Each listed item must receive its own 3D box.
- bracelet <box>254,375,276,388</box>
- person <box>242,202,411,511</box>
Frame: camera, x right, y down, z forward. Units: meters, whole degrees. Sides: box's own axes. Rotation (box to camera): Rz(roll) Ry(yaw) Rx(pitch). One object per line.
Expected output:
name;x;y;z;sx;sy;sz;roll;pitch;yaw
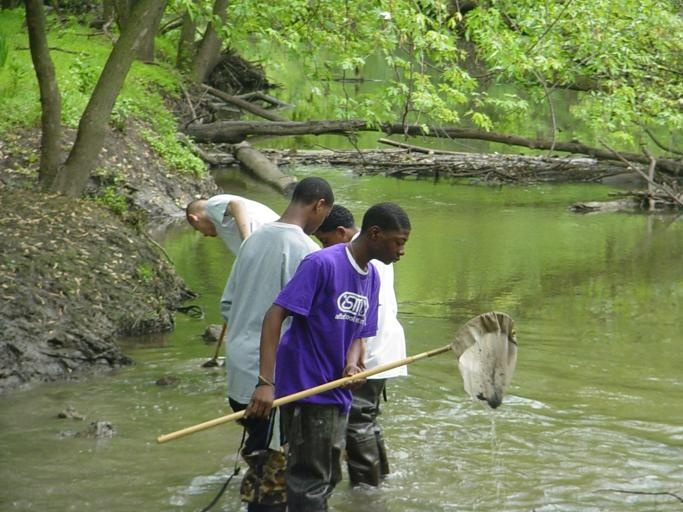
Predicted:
bracelet;-0.870;1.430;13.365;0.170;0.075;0.131;12;-3;7
person;-0.189;1.149;13.576;1.141;3.458;1.503;10;17;26
